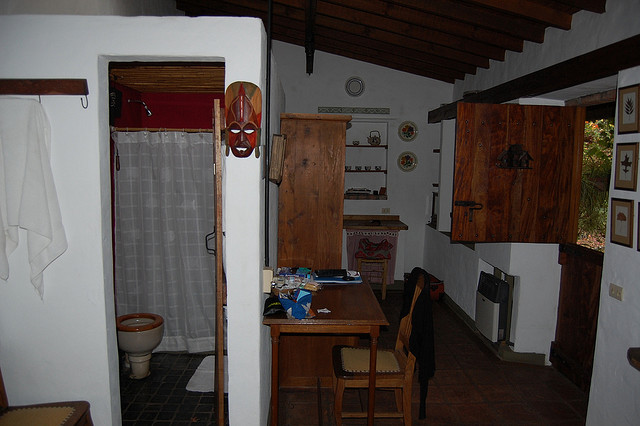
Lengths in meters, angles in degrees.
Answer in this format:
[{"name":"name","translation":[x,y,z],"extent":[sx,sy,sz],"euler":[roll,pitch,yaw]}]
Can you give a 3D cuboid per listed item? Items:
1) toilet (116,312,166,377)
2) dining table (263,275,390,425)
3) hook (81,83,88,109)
[{"name":"toilet","translation":[-1.752,1.366,4.968],"extent":[0.548,0.619,0.559],"euler":[1,2,5]},{"name":"dining table","translation":[0.062,0.834,4.224],"extent":[0.966,0.900,1.801],"euler":[0,11,0]},{"name":"hook","translation":[-1.780,-0.873,3.496],"extent":[0.049,0.176,0.027],"euler":[-1,6,-2]}]
